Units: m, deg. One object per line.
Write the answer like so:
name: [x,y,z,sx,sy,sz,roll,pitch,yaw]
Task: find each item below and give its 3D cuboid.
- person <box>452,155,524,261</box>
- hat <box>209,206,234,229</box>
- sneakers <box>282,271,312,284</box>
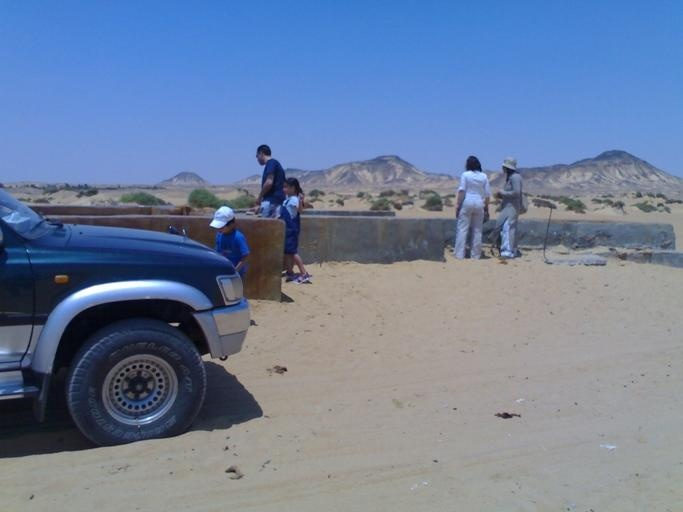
person: [2.915,-0.959,12.623,1.569,1.997,0.842,-2,4,-21]
hat: [-1.454,-0.460,7.707,0.215,0.190,0.333,10,24,21]
sneakers: [-0.740,0.331,10.259,0.467,0.210,0.187,4,2,8]
